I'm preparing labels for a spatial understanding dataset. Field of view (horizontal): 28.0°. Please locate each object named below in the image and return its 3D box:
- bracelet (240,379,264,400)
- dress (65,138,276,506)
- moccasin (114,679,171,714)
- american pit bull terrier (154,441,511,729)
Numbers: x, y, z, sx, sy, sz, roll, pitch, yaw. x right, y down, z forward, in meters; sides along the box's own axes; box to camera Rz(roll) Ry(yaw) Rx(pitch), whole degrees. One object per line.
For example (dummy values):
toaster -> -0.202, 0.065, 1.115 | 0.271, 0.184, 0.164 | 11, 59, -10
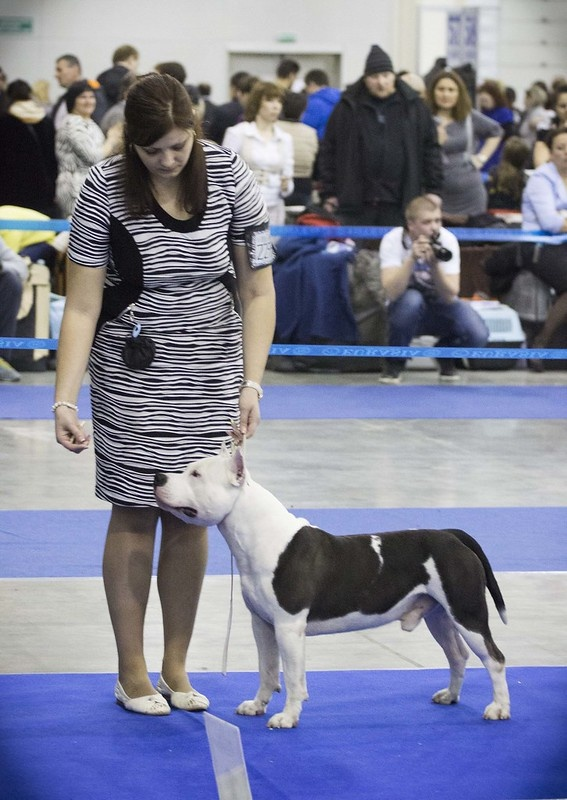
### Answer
bracelet -> -0.075, -0.032, 3.116 | 0.063, 0.061, 0.040 | -6, 45, 31
dress -> -0.295, -0.205, 3.052 | 0.527, 0.968, 0.251 | 1, 10, -1
moccasin -> -0.371, 0.802, 3.061 | 0.069, 0.050, 0.133 | 6, -7, -41
american pit bull terrier -> 0.150, 0.506, 3.018 | 1.068, 0.683, 0.324 | 6, -7, -23
